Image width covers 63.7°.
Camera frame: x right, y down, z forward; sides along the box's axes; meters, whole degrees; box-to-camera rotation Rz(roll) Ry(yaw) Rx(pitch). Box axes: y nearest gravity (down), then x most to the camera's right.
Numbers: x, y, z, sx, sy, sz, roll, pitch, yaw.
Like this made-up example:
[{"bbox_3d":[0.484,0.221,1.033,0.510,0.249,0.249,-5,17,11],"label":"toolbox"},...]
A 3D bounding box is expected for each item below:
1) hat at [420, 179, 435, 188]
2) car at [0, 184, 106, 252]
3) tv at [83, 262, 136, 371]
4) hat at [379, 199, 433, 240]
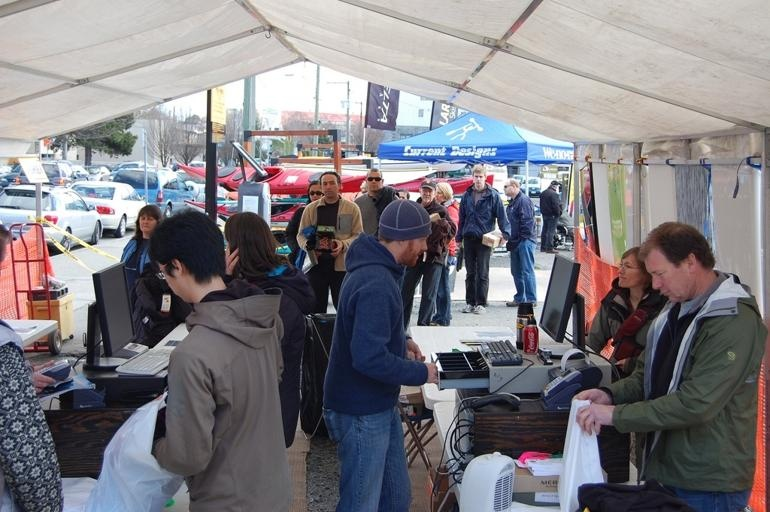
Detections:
[{"bbox_3d":[0.635,-1.055,9.104,0.209,0.152,0.341,2,-3,4],"label":"hat"},{"bbox_3d":[-7.306,-0.821,13.664,1.607,1.189,3.489,2,8,5],"label":"car"},{"bbox_3d":[-1.854,0.398,4.170,0.280,0.668,0.530,-1,3,-22],"label":"tv"},{"bbox_3d":[0.123,-0.222,3.804,0.262,0.177,0.254,4,15,21],"label":"hat"}]
